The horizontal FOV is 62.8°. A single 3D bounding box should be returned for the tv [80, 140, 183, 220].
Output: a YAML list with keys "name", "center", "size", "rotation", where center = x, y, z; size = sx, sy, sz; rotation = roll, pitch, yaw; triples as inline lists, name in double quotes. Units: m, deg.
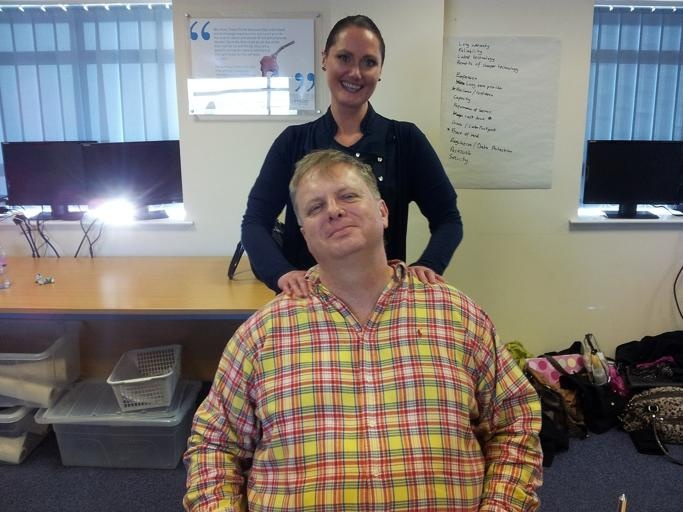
- name: "tv"
  center: [-1.452, -0.527, 3.826]
  size: [0.515, 0.434, 0.156]
  rotation: [-2, 8, -6]

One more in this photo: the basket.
- name: "basket"
  center: [-1.100, 0.669, 3.178]
  size: [0.289, 0.150, 0.399]
  rotation: [-1, 2, -5]

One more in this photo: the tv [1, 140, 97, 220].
- name: "tv"
  center: [-1.968, -0.523, 3.793]
  size: [0.531, 0.482, 0.224]
  rotation: [-1, 2, -2]

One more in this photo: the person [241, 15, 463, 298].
- name: "person"
  center: [0.055, -0.297, 2.362]
  size: [0.921, 1.314, 0.700]
  rotation: [-1, 6, -9]

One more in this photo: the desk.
- name: "desk"
  center: [-1.180, 0.242, 3.220]
  size: [1.506, 0.761, 0.846]
  rotation: [0, 15, -1]
